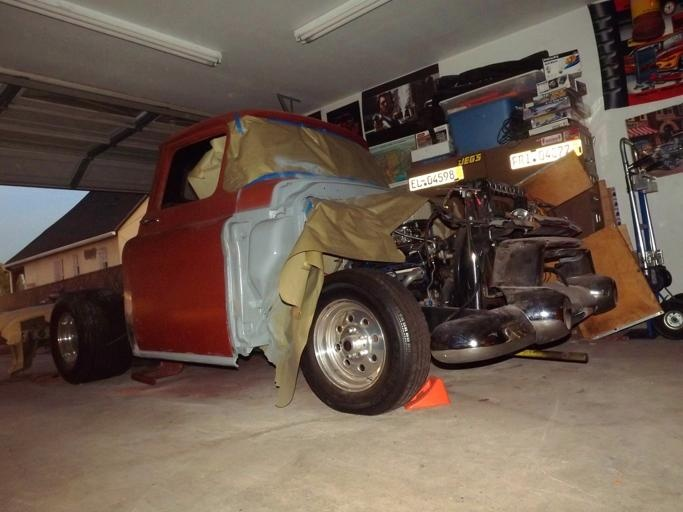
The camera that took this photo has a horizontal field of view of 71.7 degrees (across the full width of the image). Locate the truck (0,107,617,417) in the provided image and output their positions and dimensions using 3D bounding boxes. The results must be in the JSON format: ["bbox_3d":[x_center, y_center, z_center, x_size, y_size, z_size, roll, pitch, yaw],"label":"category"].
[{"bbox_3d":[-0.520,0.147,4.315,3.776,1.547,2.760,-10,-10,40],"label":"truck"}]
